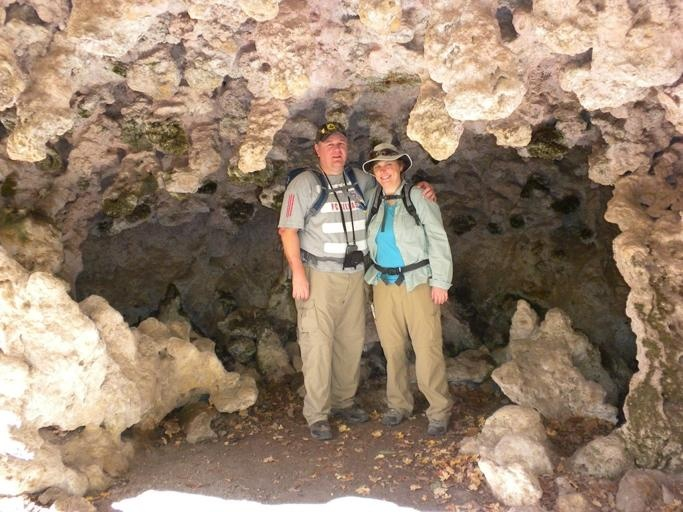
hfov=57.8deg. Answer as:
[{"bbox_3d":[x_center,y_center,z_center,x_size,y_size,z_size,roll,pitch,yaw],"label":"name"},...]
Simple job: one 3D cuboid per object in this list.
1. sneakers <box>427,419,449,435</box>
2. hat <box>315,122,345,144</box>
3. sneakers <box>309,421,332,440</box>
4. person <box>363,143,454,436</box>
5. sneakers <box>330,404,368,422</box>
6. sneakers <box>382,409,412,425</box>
[{"bbox_3d":[0.853,1.491,5.381,0.212,0.116,0.128,-3,26,-10],"label":"sneakers"},{"bbox_3d":[-0.066,-1.132,5.583,0.326,0.189,0.193,-15,31,-32],"label":"hat"},{"bbox_3d":[-0.190,1.563,5.540,0.218,0.184,0.169,4,26,3],"label":"sneakers"},{"bbox_3d":[0.588,0.341,5.442,0.639,2.295,1.248,-3,26,-11],"label":"person"},{"bbox_3d":[0.073,1.497,5.892,0.335,0.149,0.145,-3,-2,25],"label":"sneakers"},{"bbox_3d":[0.485,1.477,5.686,0.112,0.113,0.268,-3,-8,35],"label":"sneakers"}]
